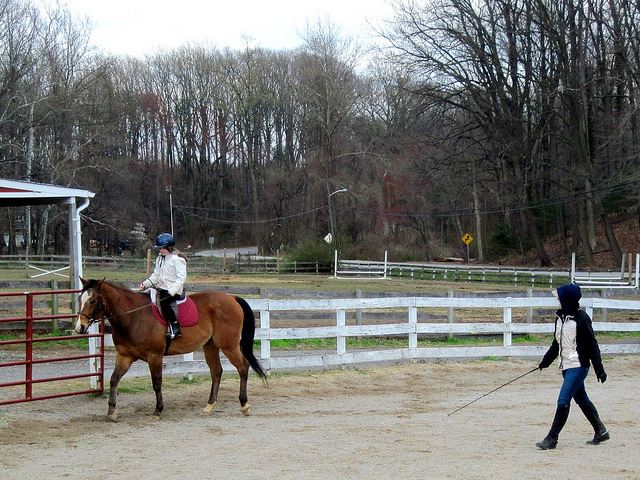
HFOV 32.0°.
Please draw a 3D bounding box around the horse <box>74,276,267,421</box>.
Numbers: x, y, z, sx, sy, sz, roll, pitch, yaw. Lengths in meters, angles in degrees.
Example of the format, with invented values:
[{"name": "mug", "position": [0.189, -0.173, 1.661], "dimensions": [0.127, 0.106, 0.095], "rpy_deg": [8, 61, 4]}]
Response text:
[{"name": "horse", "position": [-5.338, 4.107, 41.201], "dimensions": [7.412, 5.306, 1.960], "rpy_deg": [1, -4, -28]}]
